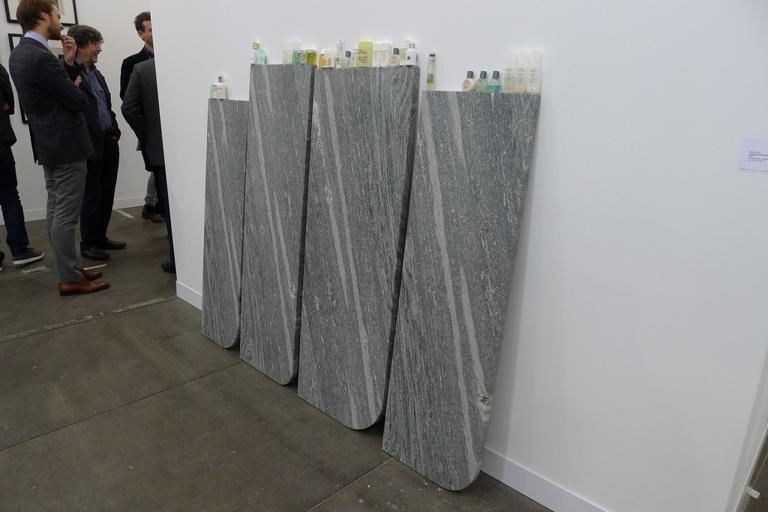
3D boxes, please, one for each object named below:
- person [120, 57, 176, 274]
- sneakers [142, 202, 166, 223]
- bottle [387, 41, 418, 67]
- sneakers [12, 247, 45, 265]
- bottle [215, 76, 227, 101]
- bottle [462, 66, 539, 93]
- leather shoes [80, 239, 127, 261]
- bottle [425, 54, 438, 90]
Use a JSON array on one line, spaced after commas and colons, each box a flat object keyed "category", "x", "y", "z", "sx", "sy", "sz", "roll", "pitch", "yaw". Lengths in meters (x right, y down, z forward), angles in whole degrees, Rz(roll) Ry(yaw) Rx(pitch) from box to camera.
[{"category": "person", "x": -1.908, "y": -0.728, "z": 4.609, "sx": 0.274, "sy": 1.650, "sz": 0.941, "roll": -6, "pitch": 20, "yaw": -23}, {"category": "sneakers", "x": -2.341, "y": -0.433, "z": 5.851, "sx": 0.422, "sy": 0.198, "sz": 0.148, "roll": 15, "pitch": 20, "yaw": 42}, {"category": "bottle", "x": 0.093, "y": -0.939, "z": 2.688, "sx": 0.133, "sy": 0.113, "sz": 0.057, "roll": 9, "pitch": 9, "yaw": 43}, {"category": "sneakers", "x": -2.956, "y": 0.009, "z": 4.825, "sx": 0.101, "sy": 0.110, "sz": 0.255, "roll": 21, "pitch": 25, "yaw": 36}, {"category": "bottle", "x": -0.984, "y": -1.020, "z": 3.499, "sx": 0.063, "sy": 0.125, "sz": 0.059, "roll": 2, "pitch": 19, "yaw": -1}, {"category": "bottle", "x": 0.513, "y": -0.761, "z": 2.481, "sx": 0.342, "sy": 0.118, "sz": 0.053, "roll": 11, "pitch": 21, "yaw": 23}, {"category": "leather shoes", "x": -2.463, "y": -0.045, "z": 4.955, "sx": 0.189, "sy": 0.073, "sz": 0.233, "roll": 2, "pitch": 22, "yaw": -2}, {"category": "bottle", "x": 0.217, "y": -0.849, "z": 2.650, "sx": 0.055, "sy": 0.159, "sz": 0.038, "roll": 11, "pitch": 20, "yaw": 24}]
